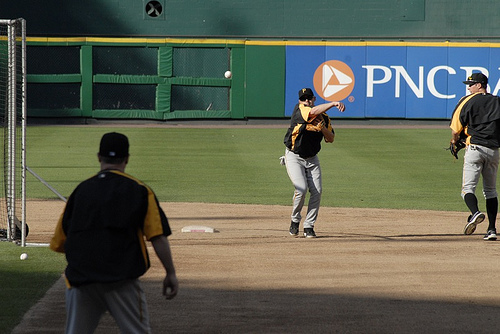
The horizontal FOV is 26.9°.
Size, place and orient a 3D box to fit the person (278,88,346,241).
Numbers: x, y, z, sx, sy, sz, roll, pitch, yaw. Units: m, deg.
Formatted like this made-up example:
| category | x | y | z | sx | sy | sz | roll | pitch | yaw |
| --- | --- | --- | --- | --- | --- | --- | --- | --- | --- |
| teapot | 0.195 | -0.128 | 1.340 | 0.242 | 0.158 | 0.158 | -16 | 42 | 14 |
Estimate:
| category | x | y | z | sx | sy | sz | roll | pitch | yaw |
| --- | --- | --- | --- | --- | --- | --- | --- | --- | --- |
| person | 1.342 | -0.054 | 24.672 | 1.173 | 3.537 | 0.813 | 1 | 8 | 8 |

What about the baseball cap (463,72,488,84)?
| category | x | y | z | sx | sy | sz | roll | pitch | yaw |
| --- | --- | --- | --- | --- | --- | --- | --- | --- | --- |
| baseball cap | 5.366 | -2.085 | 24.774 | 0.471 | 0.252 | 0.439 | 5 | 9 | 28 |

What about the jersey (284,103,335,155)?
| category | x | y | z | sx | sy | sz | roll | pitch | yaw |
| --- | --- | --- | --- | --- | --- | --- | --- | --- | --- |
| jersey | 1.257 | -0.864 | 24.629 | 0.898 | 1.212 | 0.502 | 0 | 8 | 1 |

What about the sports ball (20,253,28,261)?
| category | x | y | z | sx | sy | sz | roll | pitch | yaw |
| --- | --- | --- | --- | --- | --- | --- | --- | --- | --- |
| sports ball | -5.033 | 2.010 | 23.310 | 0.129 | 0.073 | 0.132 | -4 | 10 | 1 |

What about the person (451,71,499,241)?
| category | x | y | z | sx | sy | sz | roll | pitch | yaw |
| --- | --- | --- | --- | --- | --- | --- | --- | --- | --- |
| person | 5.295 | -0.222 | 24.645 | 0.962 | 3.893 | 1.046 | -2 | 9 | -15 |

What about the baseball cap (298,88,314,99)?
| category | x | y | z | sx | sy | sz | roll | pitch | yaw |
| --- | --- | --- | --- | --- | --- | --- | --- | --- | --- |
| baseball cap | 1.324 | -1.760 | 24.938 | 0.316 | 0.240 | 0.590 | 1 | 8 | 4 |

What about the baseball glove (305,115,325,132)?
| category | x | y | z | sx | sy | sz | roll | pitch | yaw |
| --- | --- | --- | --- | --- | --- | --- | --- | --- | --- |
| baseball glove | 1.528 | -1.009 | 24.511 | 0.406 | 0.363 | 0.192 | -18 | 28 | 1 |
